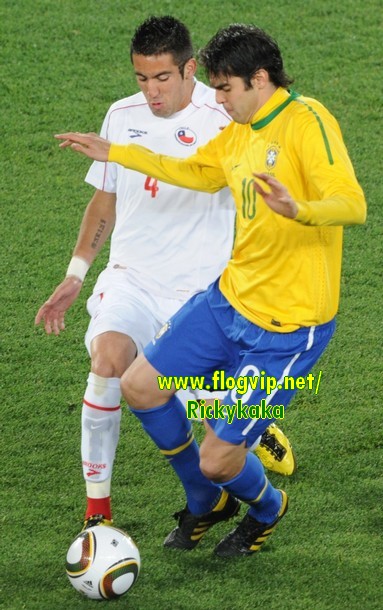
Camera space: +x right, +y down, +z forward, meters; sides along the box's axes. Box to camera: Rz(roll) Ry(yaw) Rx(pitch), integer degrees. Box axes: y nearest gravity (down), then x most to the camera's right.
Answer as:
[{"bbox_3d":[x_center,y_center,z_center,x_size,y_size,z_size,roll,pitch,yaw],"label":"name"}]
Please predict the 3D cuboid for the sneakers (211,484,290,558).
[{"bbox_3d":[0.189,0.788,2.214,0.337,0.125,0.119,-41,51,-4],"label":"sneakers"}]

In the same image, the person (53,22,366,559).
[{"bbox_3d":[0.063,0.006,2.050,0.588,1.628,0.911,-7,37,-22],"label":"person"}]

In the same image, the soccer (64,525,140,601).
[{"bbox_3d":[-0.264,0.815,1.982,0.238,0.197,0.216,-9,15,-18],"label":"soccer"}]

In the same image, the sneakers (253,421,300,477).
[{"bbox_3d":[0.322,0.582,2.681,0.109,0.123,0.297,-46,21,6],"label":"sneakers"}]

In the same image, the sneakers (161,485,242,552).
[{"bbox_3d":[0.014,0.753,2.242,0.308,0.134,0.110,-30,15,-12],"label":"sneakers"}]

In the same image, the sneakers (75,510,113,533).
[{"bbox_3d":[-0.336,0.733,2.127,0.049,0.127,0.053,-5,76,9],"label":"sneakers"}]
